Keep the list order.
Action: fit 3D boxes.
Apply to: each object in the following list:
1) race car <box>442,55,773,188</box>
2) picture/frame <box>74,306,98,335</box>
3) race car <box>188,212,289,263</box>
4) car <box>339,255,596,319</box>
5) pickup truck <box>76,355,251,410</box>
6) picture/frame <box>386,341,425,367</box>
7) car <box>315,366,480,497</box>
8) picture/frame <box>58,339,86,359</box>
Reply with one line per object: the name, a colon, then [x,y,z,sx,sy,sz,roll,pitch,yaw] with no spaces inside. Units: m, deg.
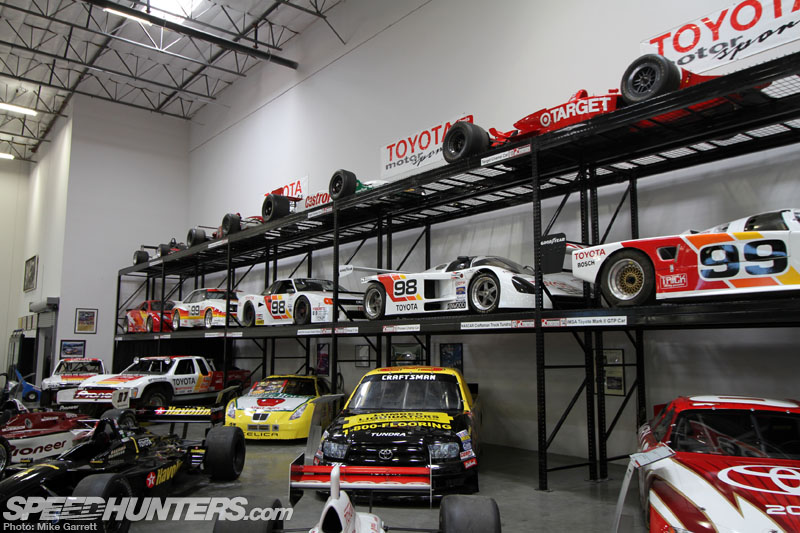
race car: [2.993,-2.552,8.682,4.696,0.996,0.958,-7,-6,33]
picture/frame: [-12.523,2.182,21.553,0.071,1.207,0.926,-12,-17,41]
race car: [-4.992,-1.073,16.929,3.430,1.566,2.074,3,-6,-41]
car: [1.120,0.418,10.169,2.858,0.884,1.803,-12,-11,38]
pickup truck: [-6.349,2.928,14.449,2.041,1.456,4.096,-6,-12,22]
picture/frame: [0.152,2.132,13.205,0.706,0.604,0.265,-5,-2,10]
car: [0.168,2.253,7.986,1.336,0.762,2.299,-2,-13,11]
picture/frame: [-12.549,3.163,20.682,0.869,0.789,0.066,4,-15,-22]
